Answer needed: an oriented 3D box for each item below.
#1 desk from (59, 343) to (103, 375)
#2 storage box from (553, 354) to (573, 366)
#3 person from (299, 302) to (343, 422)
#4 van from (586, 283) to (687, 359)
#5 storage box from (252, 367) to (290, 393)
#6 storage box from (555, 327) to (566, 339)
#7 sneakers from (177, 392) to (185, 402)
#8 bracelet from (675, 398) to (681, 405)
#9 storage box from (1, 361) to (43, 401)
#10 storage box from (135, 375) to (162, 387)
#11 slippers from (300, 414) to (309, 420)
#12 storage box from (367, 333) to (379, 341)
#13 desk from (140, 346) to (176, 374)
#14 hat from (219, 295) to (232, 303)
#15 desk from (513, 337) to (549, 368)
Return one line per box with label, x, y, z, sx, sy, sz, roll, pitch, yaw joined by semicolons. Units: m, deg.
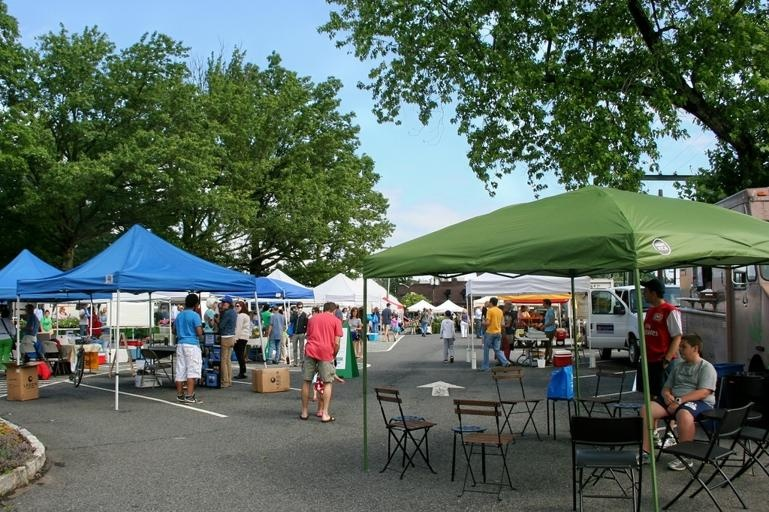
desk;-9.947;3.347;21.980;1.048;0.924;1.436;2;-2;21
storage box;3.320;1.950;12.743;0.246;0.199;0.299;1;1;-2
person;-1.402;2.254;14.658;0.862;2.518;0.901;0;-6;-7
van;8.246;2.243;25.122;3.458;2.774;4.992;3;-7;-22
storage box;-3.199;3.337;18.232;1.106;0.596;0.724;12;-14;-41
storage box;5.975;2.617;22.805;0.409;0.361;0.404;0;-6;-11
sneakers;-4.951;3.416;16.475;0.127;0.142;0.335;1;1;3
bracelet;4.773;2.348;10.962;0.081;0.094;0.045;-3;-6;24
storage box;-9.174;3.163;17.122;0.722;0.933;0.619;3;-7;-28
storage box;-6.708;3.508;19.089;0.717;0.344;0.843;1;-6;-16
slippers;-1.730;3.429;14.454;0.120;0.096;0.334;1;2;-8
storage box;-0.790;5.212;43.313;0.513;0.336;0.696;-1;-3;8
desk;-6.360;2.931;18.948;0.819;0.786;1.346;1;-6;-16
hat;-4.624;1.291;19.743;0.423;0.164;0.434;3;-5;-3
desk;5.487;3.620;25.293;0.909;1.094;1.686;-1;-2;8
